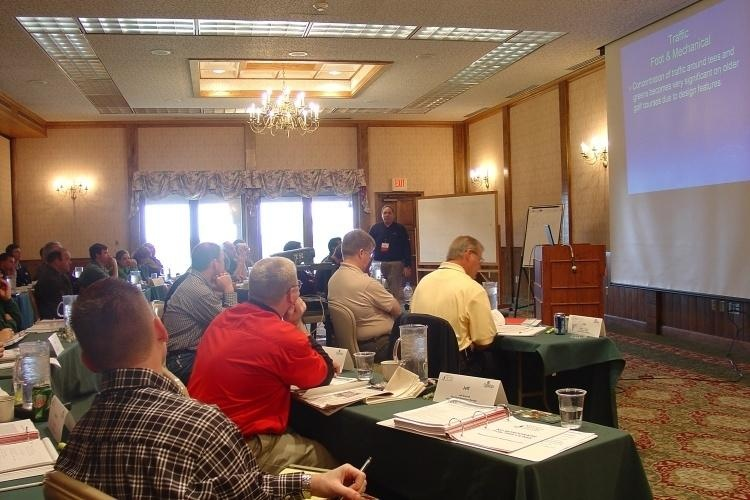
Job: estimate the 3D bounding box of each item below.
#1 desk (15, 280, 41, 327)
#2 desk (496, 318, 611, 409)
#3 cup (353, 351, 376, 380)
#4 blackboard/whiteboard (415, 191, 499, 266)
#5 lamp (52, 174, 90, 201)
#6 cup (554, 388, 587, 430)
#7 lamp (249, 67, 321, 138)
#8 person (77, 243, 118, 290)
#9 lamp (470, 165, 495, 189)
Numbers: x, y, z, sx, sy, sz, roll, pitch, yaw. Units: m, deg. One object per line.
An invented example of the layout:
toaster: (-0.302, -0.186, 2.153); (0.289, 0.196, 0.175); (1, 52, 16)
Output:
desk: (-4.536, 0.722, 6.732); (0.213, 0.391, 0.730); (-2, -1, -19)
desk: (1.394, 0.952, 4.103); (0.699, 0.611, 0.910); (4, -6, -35)
cup: (-0.072, 0.719, 3.164); (0.146, 0.148, 0.149); (-1, -11, 0)
blackboard/whiteboard: (1.362, -0.362, 8.443); (1.388, 1.014, 0.187); (-2, -3, 44)
lamp: (-6.388, -1.321, 10.860); (0.564, 0.459, 0.560); (3, -1, -14)
cup: (0.979, 0.768, 2.534); (0.180, 0.178, 0.172); (-2, -7, 0)
lamp: (-1.601, -2.684, 9.626); (1.532, 1.058, 3.552); (1, 8, -13)
person: (-3.807, 0.280, 7.153); (0.525, 0.726, 0.557); (4, 11, -9)
lamp: (2.403, -1.608, 11.457); (0.252, 0.855, 0.622); (1, -1, -29)
